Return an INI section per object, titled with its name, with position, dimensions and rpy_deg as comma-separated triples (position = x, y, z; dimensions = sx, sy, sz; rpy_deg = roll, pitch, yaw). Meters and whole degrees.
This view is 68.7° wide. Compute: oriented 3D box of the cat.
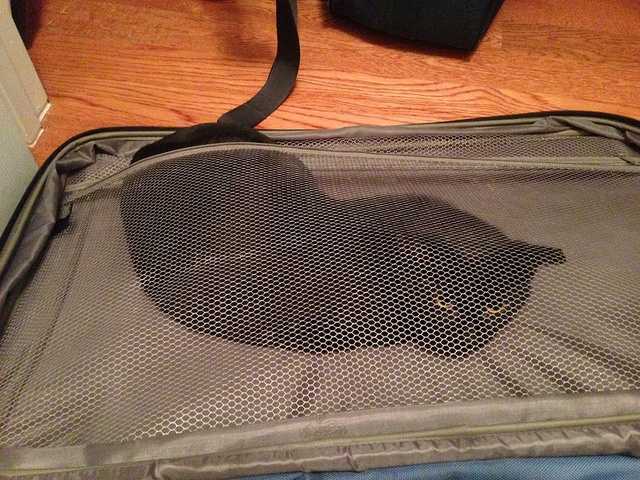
[cat]
position = -0.017, 0.013, 0.568
dimensions = 0.477, 0.111, 0.260
rpy_deg = 2, 53, -2
